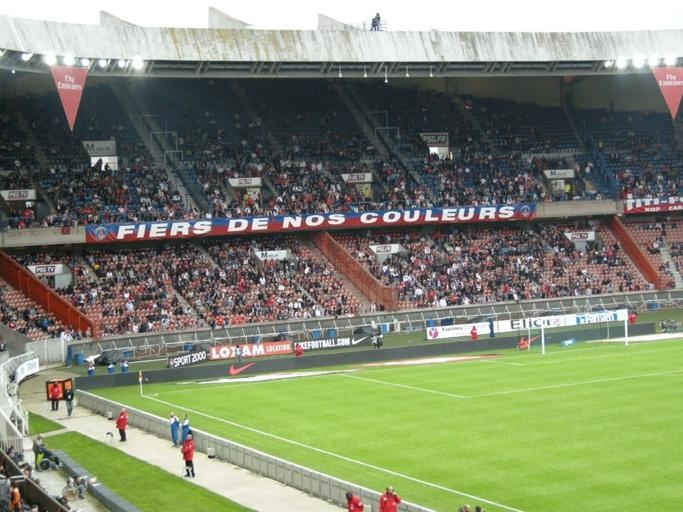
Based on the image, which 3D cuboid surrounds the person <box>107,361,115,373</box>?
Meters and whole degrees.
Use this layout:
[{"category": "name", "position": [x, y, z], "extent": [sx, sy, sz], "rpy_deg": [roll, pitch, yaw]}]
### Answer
[{"category": "person", "position": [-13.644, 6.736, 74.516], "extent": [0.536, 0.788, 0.404], "rpy_deg": [4, 13, 2]}]

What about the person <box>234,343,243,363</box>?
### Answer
[{"category": "person", "position": [-6.313, 6.079, 77.204], "extent": [0.514, 0.879, 0.764], "rpy_deg": [-10, 4, 5]}]

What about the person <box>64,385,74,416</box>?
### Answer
[{"category": "person", "position": [-14.533, 7.881, 67.217], "extent": [0.504, 1.498, 1.513], "rpy_deg": [-11, 4, -13]}]

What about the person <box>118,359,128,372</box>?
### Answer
[{"category": "person", "position": [-12.885, 6.652, 74.606], "extent": [0.471, 0.621, 2.598], "rpy_deg": [-11, 4, -10]}]

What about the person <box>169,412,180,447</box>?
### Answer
[{"category": "person", "position": [-8.083, 8.598, 61.261], "extent": [0.460, 1.419, 0.651], "rpy_deg": [-11, 5, -9]}]

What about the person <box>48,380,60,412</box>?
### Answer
[{"category": "person", "position": [-15.439, 7.679, 67.840], "extent": [0.631, 1.446, 0.478], "rpy_deg": [-11, 5, -14]}]

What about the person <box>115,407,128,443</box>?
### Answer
[{"category": "person", "position": [-10.914, 8.495, 62.673], "extent": [0.586, 1.454, 1.869], "rpy_deg": [-11, 4, -11]}]

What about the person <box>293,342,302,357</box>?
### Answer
[{"category": "person", "position": [-2.705, 6.047, 79.487], "extent": [0.481, 0.726, 0.327], "rpy_deg": [-5, 4, -7]}]
